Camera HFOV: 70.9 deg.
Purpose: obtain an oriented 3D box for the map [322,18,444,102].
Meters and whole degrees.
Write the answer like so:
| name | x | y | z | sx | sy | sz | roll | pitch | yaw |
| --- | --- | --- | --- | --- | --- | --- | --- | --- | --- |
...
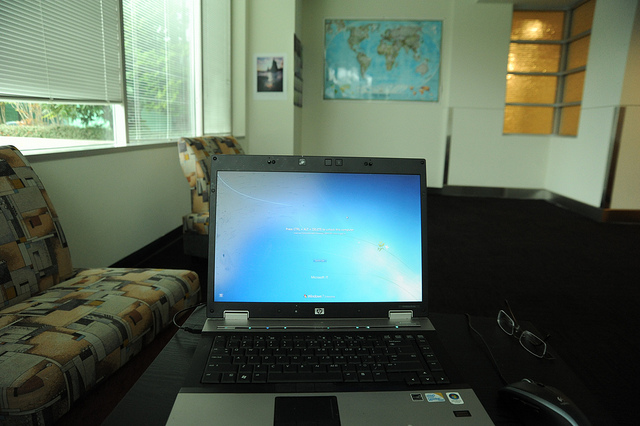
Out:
| name | x | y | z | sx | sy | sz | roll | pitch | yaw |
| --- | --- | --- | --- | --- | --- | --- | --- | --- | --- |
| map | 0.931 | -2.333 | 6.821 | 1.760 | 1.185 | 0.035 | 1 | 8 | 1 |

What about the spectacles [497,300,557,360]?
| name | x | y | z | sx | sy | sz | roll | pitch | yaw |
| --- | --- | --- | --- | --- | --- | --- | --- | --- | --- |
| spectacles | 0.788 | 0.460 | 1.719 | 0.107 | 0.108 | 0.234 | -12 | 20 | -34 |
